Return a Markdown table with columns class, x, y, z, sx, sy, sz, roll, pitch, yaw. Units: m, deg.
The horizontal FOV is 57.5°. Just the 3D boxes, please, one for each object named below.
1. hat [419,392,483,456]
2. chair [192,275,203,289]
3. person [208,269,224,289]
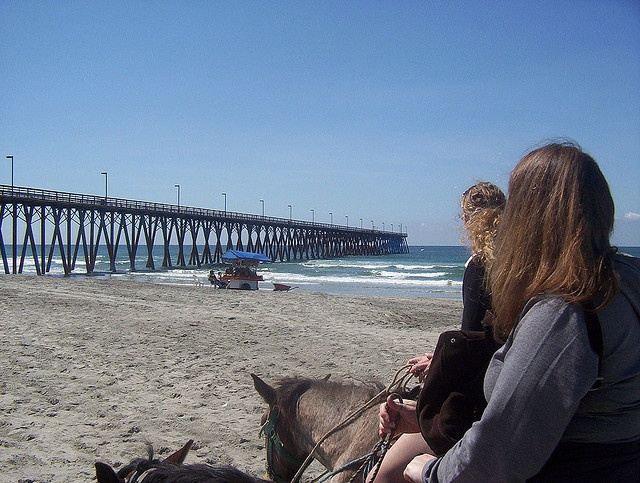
| class | x | y | z | sx | sy | sz | roll | pitch | yaw |
| --- | --- | --- | --- | --- | --- | --- | --- | --- | --- |
| hat | 0.409 | 0.558 | 1.791 | 0.078 | 0.143 | 0.145 | 11 | 38 | -6 |
| chair | -5.404 | 1.775 | 25.686 | 0.282 | 0.432 | 0.257 | 1 | 4 | 26 |
| person | -4.314 | 1.567 | 24.111 | 0.436 | 0.539 | 0.825 | 1 | 26 | -19 |
